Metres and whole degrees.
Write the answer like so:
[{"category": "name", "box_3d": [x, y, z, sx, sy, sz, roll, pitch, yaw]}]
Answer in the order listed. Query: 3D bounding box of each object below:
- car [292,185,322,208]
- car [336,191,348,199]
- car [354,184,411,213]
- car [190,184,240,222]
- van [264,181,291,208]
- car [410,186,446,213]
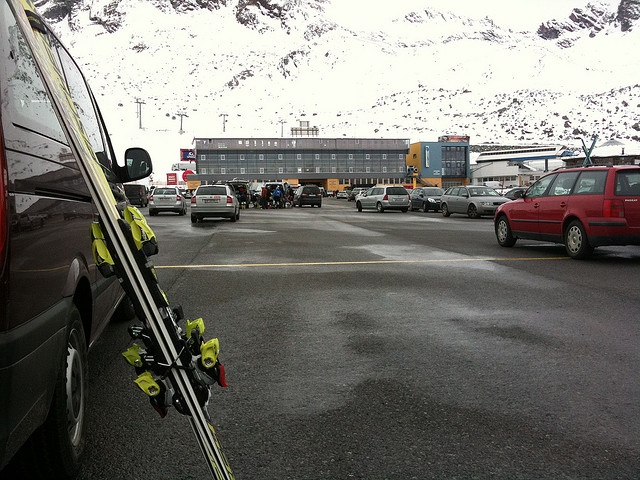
[{"category": "car", "box_3d": [-1.343, -4.370, 51.186, 1.726, 1.668, 3.675, -1, 10, -4]}, {"category": "car", "box_3d": [3.435, -7.626, 85.618, 1.162, 1.243, 3.369, -1, 5, -10]}, {"category": "car", "box_3d": [4.560, -3.091, 37.722, 1.867, 1.917, 4.734, -2, 6, -21]}, {"category": "car", "box_3d": [-5.595, -2.064, 27.182, 1.307, 1.189, 3.130, 0, 10, -2]}, {"category": "van", "box_3d": [-4.275, -4.602, 52.439, 2.073, 1.917, 3.015, 0, 10, 3]}, {"category": "car", "box_3d": [7.720, -3.001, 36.837, 1.232, 1.124, 2.608, -1, 1, -13]}]
